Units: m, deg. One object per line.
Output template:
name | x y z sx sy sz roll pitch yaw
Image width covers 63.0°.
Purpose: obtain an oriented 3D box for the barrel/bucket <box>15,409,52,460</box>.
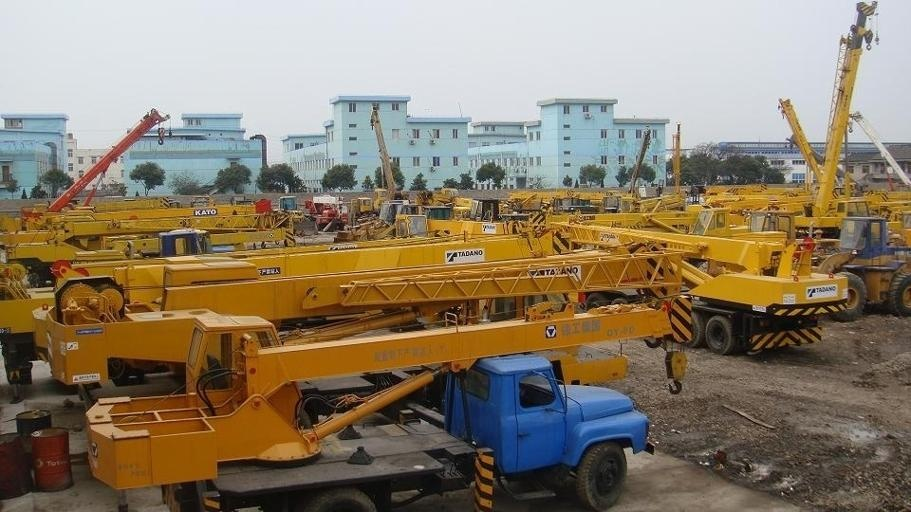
barrel/bucket | -9.972 4.184 17.834 0.969 0.956 0.966 -1 -5 0
